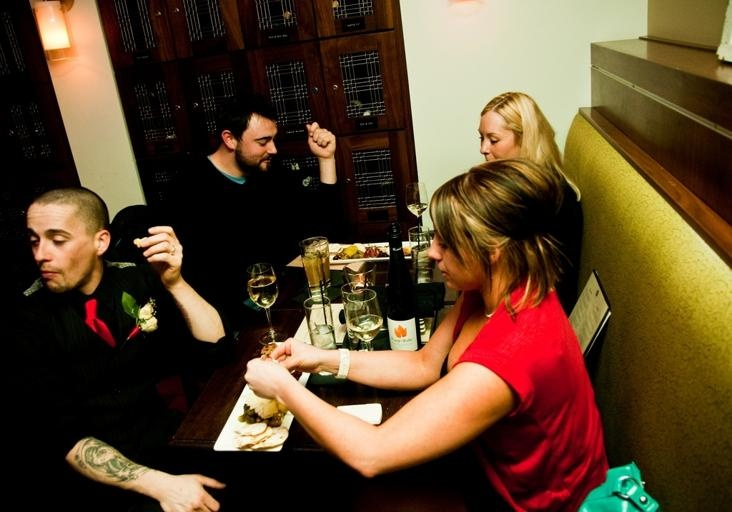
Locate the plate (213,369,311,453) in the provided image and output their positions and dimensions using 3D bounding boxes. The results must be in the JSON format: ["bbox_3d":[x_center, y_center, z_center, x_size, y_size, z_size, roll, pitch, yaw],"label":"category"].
[{"bbox_3d":[-0.342,0.543,1.772,0.203,0.028,0.406,5,33,2],"label":"plate"}]

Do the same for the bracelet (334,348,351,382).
[{"bbox_3d":[-0.078,0.403,1.924,0.037,0.095,0.069,0,8,-14],"label":"bracelet"}]

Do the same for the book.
[{"bbox_3d":[0.914,0.244,2.147,0.033,0.294,0.342,9,9,11],"label":"book"}]

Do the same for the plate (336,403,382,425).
[{"bbox_3d":[-0.010,0.555,1.811,0.128,0.027,0.076,0,25,1],"label":"plate"}]
